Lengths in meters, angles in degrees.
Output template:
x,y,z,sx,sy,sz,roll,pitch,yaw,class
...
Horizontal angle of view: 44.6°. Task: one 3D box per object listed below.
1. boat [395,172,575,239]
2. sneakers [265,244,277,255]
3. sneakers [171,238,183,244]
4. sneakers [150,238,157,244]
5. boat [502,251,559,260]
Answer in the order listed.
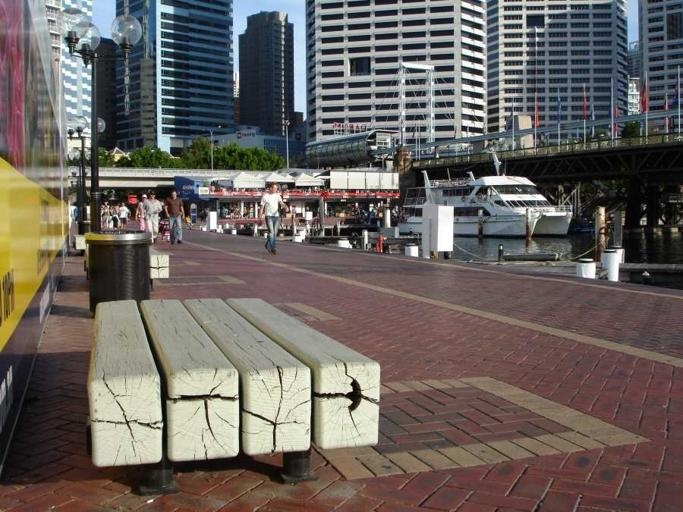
x,y,z,sx,sy,sz,roll,pitch,yaw,class
10.279,-3.467,62.577,6.144,4.149,11.146,-1,3,-29,boat
-1.814,-0.156,21.803,0.184,0.212,0.542,4,11,-17,sneakers
-5.421,-0.497,27.648,0.190,0.138,0.456,11,8,27,sneakers
-5.176,-0.419,23.218,0.183,0.180,0.330,3,8,-12,sneakers
6.399,0.026,28.340,1.698,0.219,1.488,1,8,5,boat
